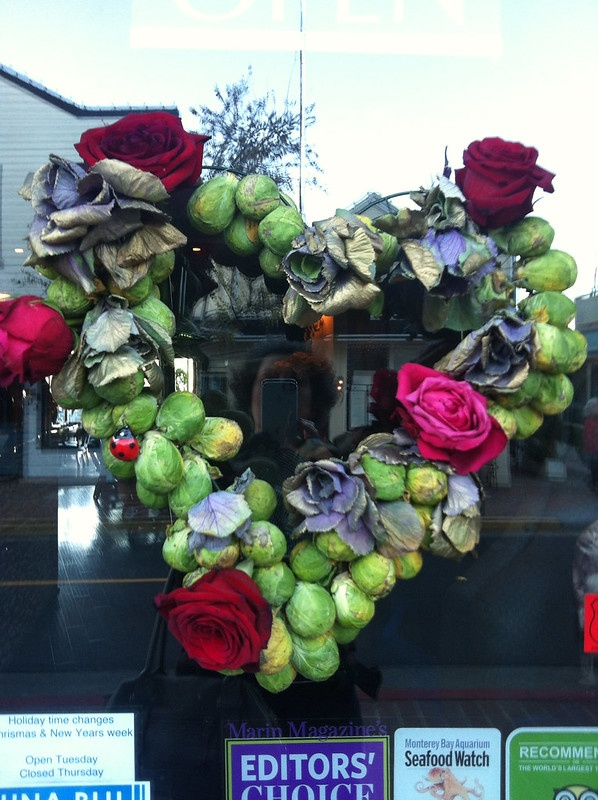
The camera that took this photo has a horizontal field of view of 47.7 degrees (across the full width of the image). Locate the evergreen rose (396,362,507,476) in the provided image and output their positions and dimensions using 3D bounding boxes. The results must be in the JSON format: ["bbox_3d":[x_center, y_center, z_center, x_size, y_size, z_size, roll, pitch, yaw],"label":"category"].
[{"bbox_3d":[0.336,0.018,1.602,0.239,0.232,0.277,-4,17,-22],"label":"evergreen rose"}]

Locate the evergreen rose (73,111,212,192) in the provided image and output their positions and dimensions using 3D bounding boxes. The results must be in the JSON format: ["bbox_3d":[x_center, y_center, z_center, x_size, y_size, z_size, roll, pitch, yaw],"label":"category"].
[{"bbox_3d":[-0.357,-0.590,1.740,0.233,0.214,0.362,1,11,18],"label":"evergreen rose"}]

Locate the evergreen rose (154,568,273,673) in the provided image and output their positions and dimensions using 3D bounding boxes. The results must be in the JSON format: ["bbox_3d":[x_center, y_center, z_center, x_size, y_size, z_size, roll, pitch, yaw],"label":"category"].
[{"bbox_3d":[-0.202,0.502,1.527,0.259,0.222,0.114,1,5,22],"label":"evergreen rose"}]

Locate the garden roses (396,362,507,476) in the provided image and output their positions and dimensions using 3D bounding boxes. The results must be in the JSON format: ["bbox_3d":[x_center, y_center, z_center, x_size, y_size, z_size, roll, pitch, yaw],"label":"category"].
[{"bbox_3d":[0.339,0.018,1.605,0.239,0.232,0.277,-4,17,-22],"label":"garden roses"}]
